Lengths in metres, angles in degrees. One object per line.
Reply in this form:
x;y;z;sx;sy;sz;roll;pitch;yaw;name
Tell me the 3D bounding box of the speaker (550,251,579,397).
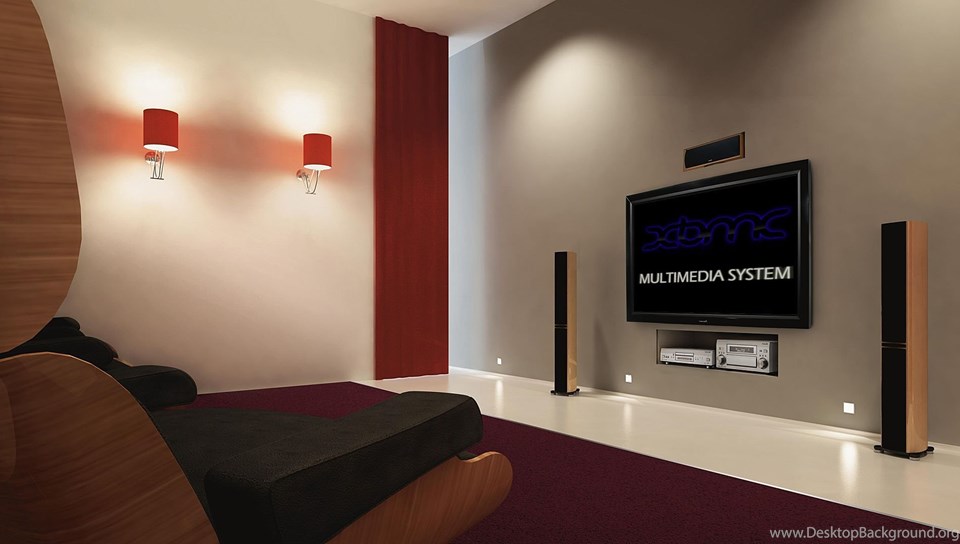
0.957;0.545;6.426;0.303;1.514;0.361;-1;0;37;speaker
